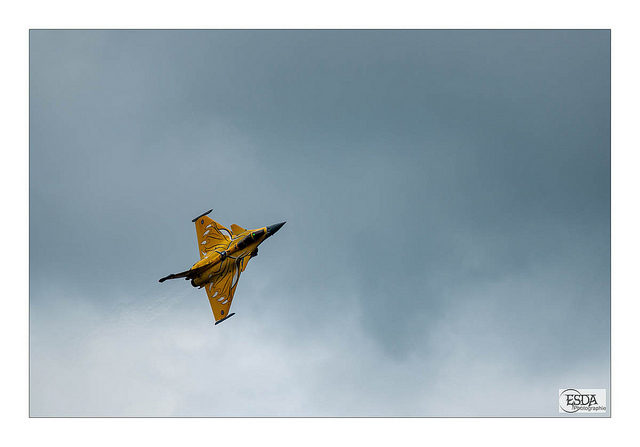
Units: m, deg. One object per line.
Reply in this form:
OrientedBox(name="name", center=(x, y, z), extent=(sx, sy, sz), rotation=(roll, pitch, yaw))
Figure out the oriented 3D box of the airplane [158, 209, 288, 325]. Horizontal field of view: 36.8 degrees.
OrientedBox(name="airplane", center=(-5.477, 1.519, 56.055), extent=(7.953, 2.942, 7.117), rotation=(-33, -118, 25))
